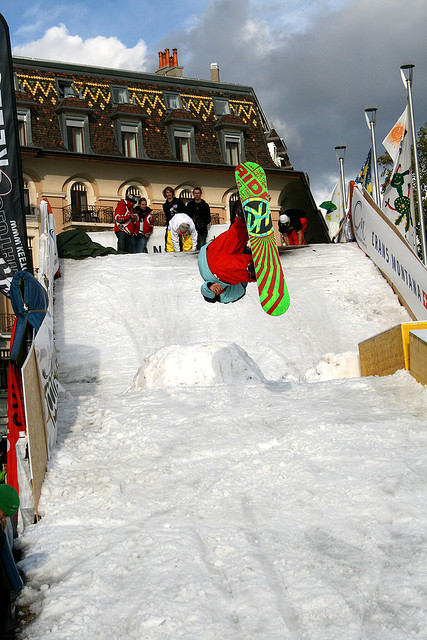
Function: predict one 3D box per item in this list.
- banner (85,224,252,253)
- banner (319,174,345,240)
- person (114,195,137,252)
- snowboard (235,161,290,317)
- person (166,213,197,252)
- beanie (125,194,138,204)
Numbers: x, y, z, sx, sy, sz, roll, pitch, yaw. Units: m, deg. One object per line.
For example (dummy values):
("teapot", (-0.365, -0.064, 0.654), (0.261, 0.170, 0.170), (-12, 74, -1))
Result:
("banner", (-2.255, -3.389, 22.036), (5.555, 1.318, 3.862), (-8, 6, -11))
("banner", (8.702, -8.262, 38.201), (1.649, 5.115, 1.063), (4, -5, 0))
("person", (-3.279, -3.584, 19.857), (0.811, 2.021, 1.399), (-8, 6, -18))
("snowboard", (0.654, -1.121, 7.302), (0.568, 2.456, 0.346), (-9, 14, -14))
("person", (-1.063, -3.131, 18.724), (0.889, 1.236, 1.964), (-7, -4, -5))
("beanie", (-3.007, -4.365, 19.422), (0.375, 0.194, 0.522), (4, 25, -23))
